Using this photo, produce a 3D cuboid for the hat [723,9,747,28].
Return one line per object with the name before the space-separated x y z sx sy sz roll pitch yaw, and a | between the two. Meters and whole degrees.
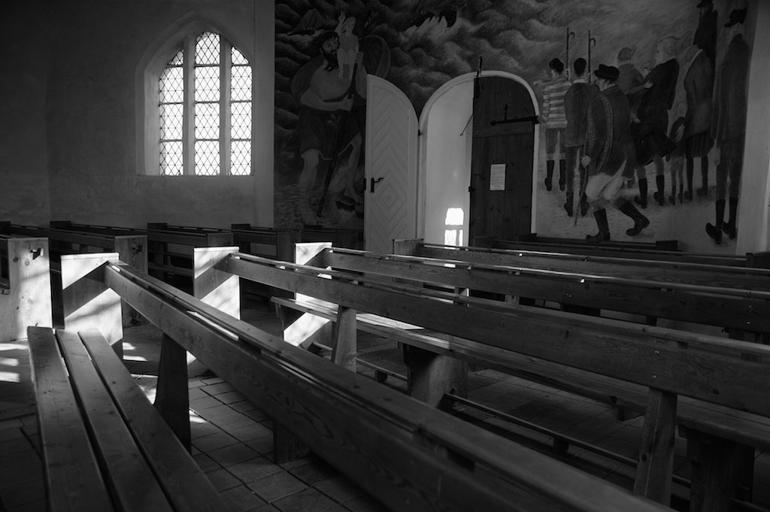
hat | 4.339 -2.951 6.599 0.169 0.263 0.193 6 26 13
